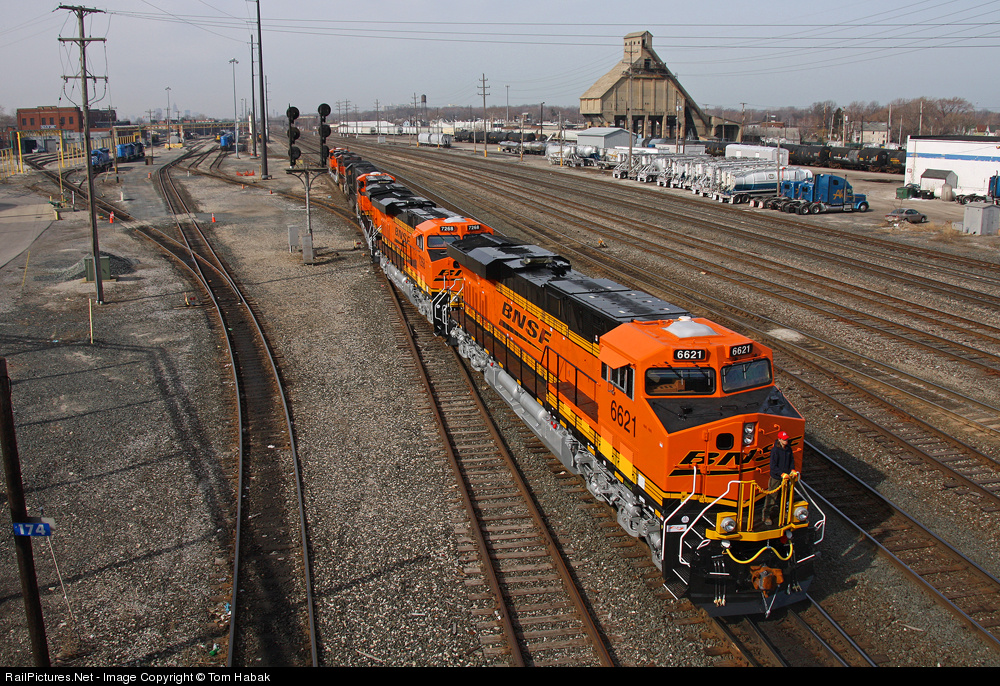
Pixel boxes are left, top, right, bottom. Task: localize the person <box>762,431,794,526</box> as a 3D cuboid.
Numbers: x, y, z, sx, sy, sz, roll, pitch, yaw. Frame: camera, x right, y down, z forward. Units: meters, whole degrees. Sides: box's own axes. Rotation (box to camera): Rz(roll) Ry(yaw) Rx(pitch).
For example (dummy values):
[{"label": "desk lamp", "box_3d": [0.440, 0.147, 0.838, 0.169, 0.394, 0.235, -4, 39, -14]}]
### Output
[{"label": "person", "box_3d": [5.475, 2.610, 13.126, 0.446, 1.657, 0.895, 10, 20, 24]}]
